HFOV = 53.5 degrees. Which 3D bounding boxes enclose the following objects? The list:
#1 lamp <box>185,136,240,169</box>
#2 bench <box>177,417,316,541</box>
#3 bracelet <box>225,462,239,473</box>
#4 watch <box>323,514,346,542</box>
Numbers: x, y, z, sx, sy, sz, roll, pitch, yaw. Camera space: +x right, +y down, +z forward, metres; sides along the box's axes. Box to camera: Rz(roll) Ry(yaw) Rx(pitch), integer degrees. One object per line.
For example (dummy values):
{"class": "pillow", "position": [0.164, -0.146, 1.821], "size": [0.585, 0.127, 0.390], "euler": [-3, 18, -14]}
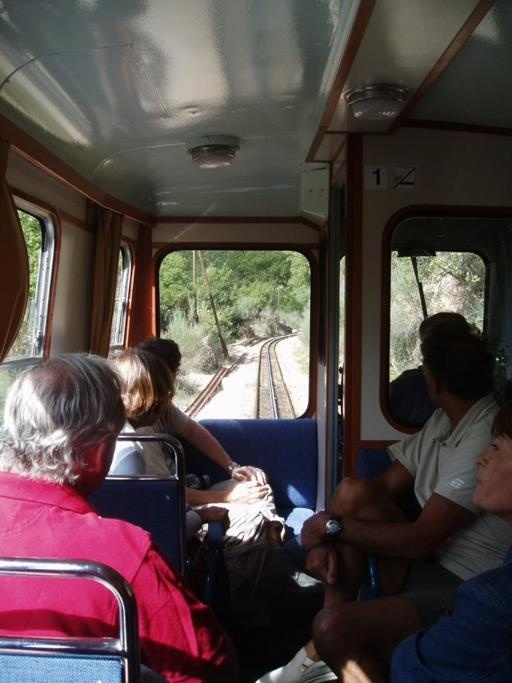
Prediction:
{"class": "lamp", "position": [-0.271, -1.187, 3.171], "size": [0.332, 0.124, 0.339], "euler": [0, -3, 1]}
{"class": "bench", "position": [0.041, 1.232, 4.570], "size": [1.307, 0.859, 0.705], "euler": [0, -3, 0]}
{"class": "bracelet", "position": [-0.188, 0.944, 3.859], "size": [0.081, 0.051, 0.077], "euler": [-33, -23, -31]}
{"class": "watch", "position": [0.322, 0.770, 2.098], "size": [0.071, 0.103, 0.097], "euler": [14, -17, 13]}
